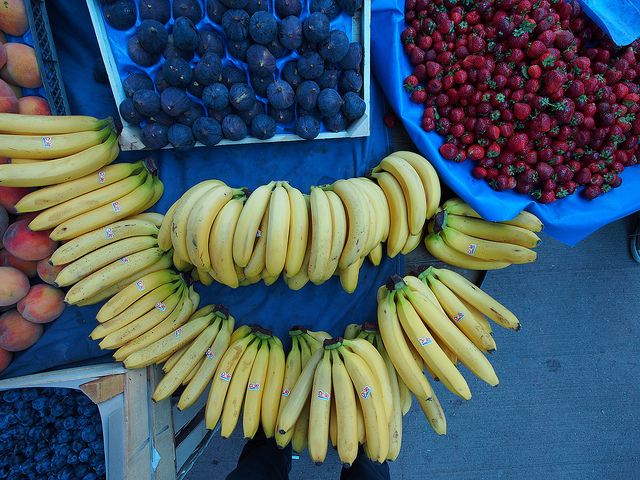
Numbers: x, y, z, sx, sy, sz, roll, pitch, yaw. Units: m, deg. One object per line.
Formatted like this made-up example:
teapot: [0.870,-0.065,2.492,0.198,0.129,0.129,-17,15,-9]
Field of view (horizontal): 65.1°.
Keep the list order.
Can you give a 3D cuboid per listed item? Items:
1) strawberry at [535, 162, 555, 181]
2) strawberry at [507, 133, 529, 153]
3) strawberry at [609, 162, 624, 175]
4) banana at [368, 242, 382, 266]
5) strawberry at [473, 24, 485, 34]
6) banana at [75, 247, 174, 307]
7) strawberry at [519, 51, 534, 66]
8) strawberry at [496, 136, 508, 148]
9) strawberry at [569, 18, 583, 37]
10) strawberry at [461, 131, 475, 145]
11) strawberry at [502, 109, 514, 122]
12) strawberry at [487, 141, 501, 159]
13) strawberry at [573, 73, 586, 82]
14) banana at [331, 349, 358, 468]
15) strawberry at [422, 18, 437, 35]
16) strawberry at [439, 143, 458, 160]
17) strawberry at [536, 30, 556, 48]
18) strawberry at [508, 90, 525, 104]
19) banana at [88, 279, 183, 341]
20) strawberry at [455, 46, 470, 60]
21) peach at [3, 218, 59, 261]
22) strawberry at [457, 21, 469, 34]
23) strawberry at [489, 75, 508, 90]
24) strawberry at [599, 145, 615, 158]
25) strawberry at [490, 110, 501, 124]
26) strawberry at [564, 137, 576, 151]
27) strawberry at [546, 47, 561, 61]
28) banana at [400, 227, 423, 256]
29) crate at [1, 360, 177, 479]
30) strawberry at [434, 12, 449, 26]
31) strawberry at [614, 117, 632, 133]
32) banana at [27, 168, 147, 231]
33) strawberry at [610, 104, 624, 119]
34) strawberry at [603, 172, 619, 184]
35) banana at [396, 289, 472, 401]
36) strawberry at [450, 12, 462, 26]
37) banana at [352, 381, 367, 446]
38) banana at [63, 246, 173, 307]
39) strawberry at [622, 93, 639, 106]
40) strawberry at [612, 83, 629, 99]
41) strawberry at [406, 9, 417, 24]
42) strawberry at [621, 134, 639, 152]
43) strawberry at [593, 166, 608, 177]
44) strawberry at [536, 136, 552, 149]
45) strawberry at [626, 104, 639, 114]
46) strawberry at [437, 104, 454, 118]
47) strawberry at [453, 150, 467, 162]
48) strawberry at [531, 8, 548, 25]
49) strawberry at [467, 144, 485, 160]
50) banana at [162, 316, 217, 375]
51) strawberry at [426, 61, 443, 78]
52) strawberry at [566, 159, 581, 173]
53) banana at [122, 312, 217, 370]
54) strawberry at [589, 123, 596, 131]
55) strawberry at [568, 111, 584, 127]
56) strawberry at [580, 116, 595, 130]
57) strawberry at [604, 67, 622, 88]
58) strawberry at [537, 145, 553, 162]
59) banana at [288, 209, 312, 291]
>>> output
strawberry: [1.394,-0.422,3.158,0.097,0.100,0.107,28,81,-7]
strawberry: [1.223,-0.595,3.077,0.131,0.088,0.101,6,77,-5]
strawberry: [1.876,-0.460,3.177,0.065,0.071,0.092,-8,100,2]
banana: [0.368,0.090,3.277,0.080,0.044,0.139,3,113,2]
strawberry: [0.986,-1.319,3.123,0.062,0.038,0.052,-32,91,-4]
banana: [-1.199,0.224,3.060,0.404,0.139,0.086,-39,82,13]
strawberry: [1.250,-1.102,3.031,0.081,0.032,0.096,5,92,21]
strawberry: [1.130,-0.603,3.091,0.050,0.030,0.057,20,103,0]
strawberry: [1.603,-1.333,3.133,0.060,0.048,0.091,27,102,23]
strawberry: [0.934,-0.643,3.158,0.067,0.070,0.069,43,89,15]
strawberry: [1.153,-0.762,3.068,0.067,0.042,0.071,-1,78,-6]
strawberry: [1.079,-0.553,3.110,0.087,0.067,0.072,-25,68,37]
strawberry: [1.575,-0.983,3.042,0.055,0.046,0.036,-12,103,-9]
banana: [0.142,0.976,2.861,0.125,0.206,0.692,-5,92,10]
strawberry: [0.698,-1.340,3.159,0.072,0.062,0.109,1,91,9]
strawberry: [0.822,-0.562,3.187,0.097,0.068,0.104,-11,79,-8]
strawberry: [1.365,-1.215,3.010,0.105,0.060,0.081,-42,71,-13]
strawberry: [1.191,-0.869,3.033,0.076,0.043,0.061,-33,108,24]
banana: [-1.108,0.430,3.065,0.496,0.086,0.106,-39,109,-15]
strawberry: [0.886,-1.169,3.121,0.058,0.043,0.080,24,113,-1]
peach: [-1.826,0.009,3.178,0.295,0.290,0.260,-2,25,-24]
strawberry: [0.890,-1.327,3.122,0.063,0.079,0.068,-38,73,3]
strawberry: [1.083,-0.955,3.044,0.087,0.053,0.075,-6,59,34]
strawberry: [1.784,-0.552,3.111,0.082,0.064,0.048,-37,94,-18]
strawberry: [1.081,-0.759,3.079,0.050,0.027,0.073,3,96,4]
strawberry: [1.546,-0.590,3.100,0.064,0.067,0.075,13,102,10]
strawberry: [1.409,-1.131,3.012,0.080,0.047,0.069,22,52,-15]
banana: [0.575,0.025,3.215,0.069,0.079,0.245,35,104,24]
crate: [-1.382,1.089,2.977,0.792,0.495,0.651,-10,94,2]
strawberry: [0.757,-1.386,3.126,0.076,0.064,0.061,-21,37,-4]
strawberry: [1.867,-0.714,3.097,0.058,0.073,0.064,-31,86,-10]
banana: [-1.391,-0.181,3.092,0.789,0.251,0.130,-24,35,-16]
strawberry: [1.820,-0.789,3.067,0.049,0.086,0.070,18,57,6]
strawberry: [1.847,-0.391,3.177,0.066,0.068,0.075,28,90,36]
banana: [0.665,0.599,2.962,0.114,0.216,0.674,-26,84,-5]
strawberry: [0.847,-1.378,3.113,0.062,0.066,0.084,-16,52,29]
banana: [0.241,1.034,2.981,0.074,0.105,0.353,-6,100,-3]
banana: [-1.268,0.317,3.113,0.638,0.164,0.146,-6,66,-14]
strawberry: [1.915,-0.866,3.087,0.094,0.040,0.070,-20,81,-10]
strawberry: [1.844,-0.912,3.073,0.070,0.047,0.082,-21,96,0]
strawberry: [0.595,-1.437,3.233,0.052,0.043,0.080,7,76,8]
strawberry: [1.947,-0.610,3.144,0.060,0.056,0.125,34,100,-3]
strawberry: [1.787,-0.428,3.168,0.055,0.047,0.040,-5,94,-19]
strawberry: [1.381,-0.596,3.089,0.070,0.041,0.073,22,115,-22]
strawberry: [1.927,-0.811,3.087,0.033,0.021,0.063,43,106,-3]
strawberry: [0.797,-0.822,3.189,0.068,0.062,0.043,-22,42,16]
strawberry: [0.882,-0.529,3.179,0.057,0.043,0.077,-9,47,28]
strawberry: [1.327,-1.359,3.032,0.066,0.054,0.100,12,93,5]
strawberry: [0.977,-0.552,3.141,0.101,0.093,0.093,-14,41,25]
banana: [-0.800,0.644,3.084,0.074,0.121,0.367,40,98,8]
strawberry: [0.720,-1.076,3.167,0.115,0.045,0.076,23,77,-1]
strawberry: [1.596,-0.466,3.145,0.082,0.076,0.075,-20,98,22]
banana: [-0.932,0.618,3.107,0.623,0.206,0.131,-30,81,-28]
strawberry: [1.684,-0.695,3.089,0.008,0.028,0.030,32,98,-20]
strawberry: [1.558,-0.728,3.033,0.066,0.041,0.078,13,92,2]
strawberry: [1.631,-0.710,3.053,0.070,0.090,0.068,-27,44,-34]
strawberry: [1.781,-0.999,3.096,0.086,0.118,0.095,0,38,-7]
strawberry: [1.389,-0.529,3.091,0.081,0.085,0.103,-21,83,10]
banana: [-0.106,0.087,3.015,0.109,0.528,0.169,10,32,-5]
